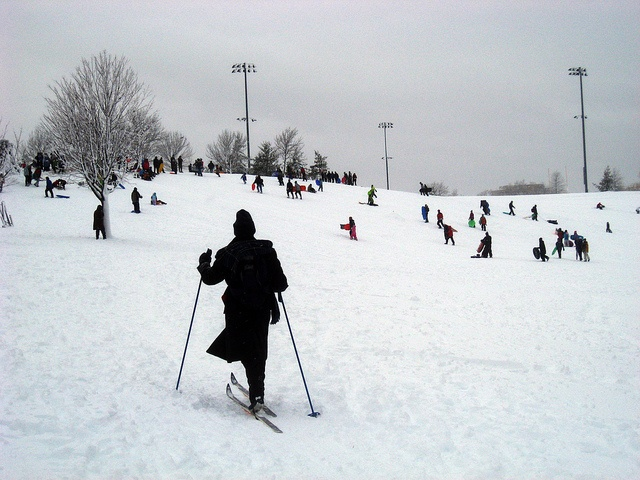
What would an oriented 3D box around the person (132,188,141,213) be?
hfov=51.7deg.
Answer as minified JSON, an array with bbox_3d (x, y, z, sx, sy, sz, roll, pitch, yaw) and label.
[{"bbox_3d":[-7.524,-1.677,27.151,0.282,1.021,1.025,1,8,-15],"label":"person"}]

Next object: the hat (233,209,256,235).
[{"bbox_3d":[-1.272,-0.315,11.391,0.289,0.436,0.456,-3,12,0],"label":"hat"}]

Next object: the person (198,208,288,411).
[{"bbox_3d":[-1.272,1.205,11.240,1.345,3.403,0.613,1,7,-11],"label":"person"}]

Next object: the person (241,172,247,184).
[{"bbox_3d":[-5.031,-4.164,44.545,0.320,0.704,1.666,2,8,-7],"label":"person"}]

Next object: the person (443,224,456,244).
[{"bbox_3d":[5.790,-0.234,29.443,0.466,0.845,0.805,4,8,11],"label":"person"}]

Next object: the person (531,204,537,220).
[{"bbox_3d":[13.274,-1.724,40.784,0.344,0.919,1.447,5,8,19],"label":"person"}]

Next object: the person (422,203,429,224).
[{"bbox_3d":[5.845,-1.463,36.544,0.354,0.889,0.718,4,7,8],"label":"person"}]

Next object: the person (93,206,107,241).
[{"bbox_3d":[-7.005,-0.599,21.133,0.345,1.067,0.585,0,8,-20],"label":"person"}]

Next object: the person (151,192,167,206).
[{"bbox_3d":[-7.380,-1.904,30.279,0.292,0.583,0.994,1,14,-2],"label":"person"}]

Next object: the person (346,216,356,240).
[{"bbox_3d":[1.392,-0.497,27.538,0.371,0.890,0.699,3,7,3],"label":"person"}]

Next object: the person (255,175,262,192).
[{"bbox_3d":[-3.659,-3.412,39.845,0.452,1.041,2.138,2,8,-6],"label":"person"}]

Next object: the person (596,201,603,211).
[{"bbox_3d":[19.907,-2.416,47.068,0.371,0.580,0.922,4,9,40],"label":"person"}]

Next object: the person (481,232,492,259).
[{"bbox_3d":[6.632,0.198,26.158,0.416,0.983,0.507,5,7,14],"label":"person"}]

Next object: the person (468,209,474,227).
[{"bbox_3d":[8.240,-1.106,35.722,0.278,0.864,0.923,4,8,14],"label":"person"}]
